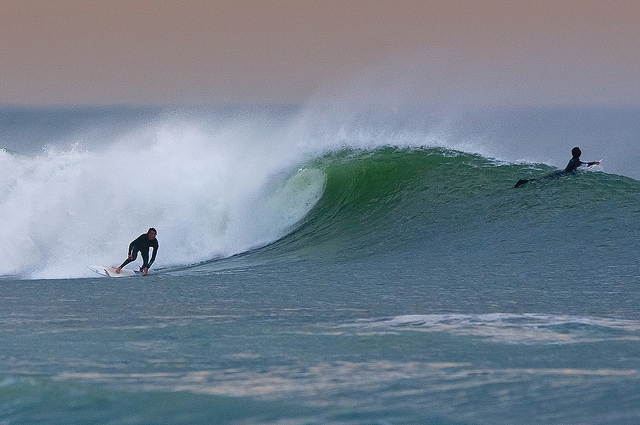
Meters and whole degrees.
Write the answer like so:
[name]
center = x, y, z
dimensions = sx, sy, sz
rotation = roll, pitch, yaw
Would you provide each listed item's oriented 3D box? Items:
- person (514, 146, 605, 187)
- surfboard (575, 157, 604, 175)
[person]
center = 5.389, -1.059, 17.188
dimensions = 1.960, 0.584, 0.748
rotation = -11, -14, 30
[surfboard]
center = 5.965, -1.039, 16.942
dimensions = 0.505, 0.225, 0.202
rotation = -6, 12, -4
